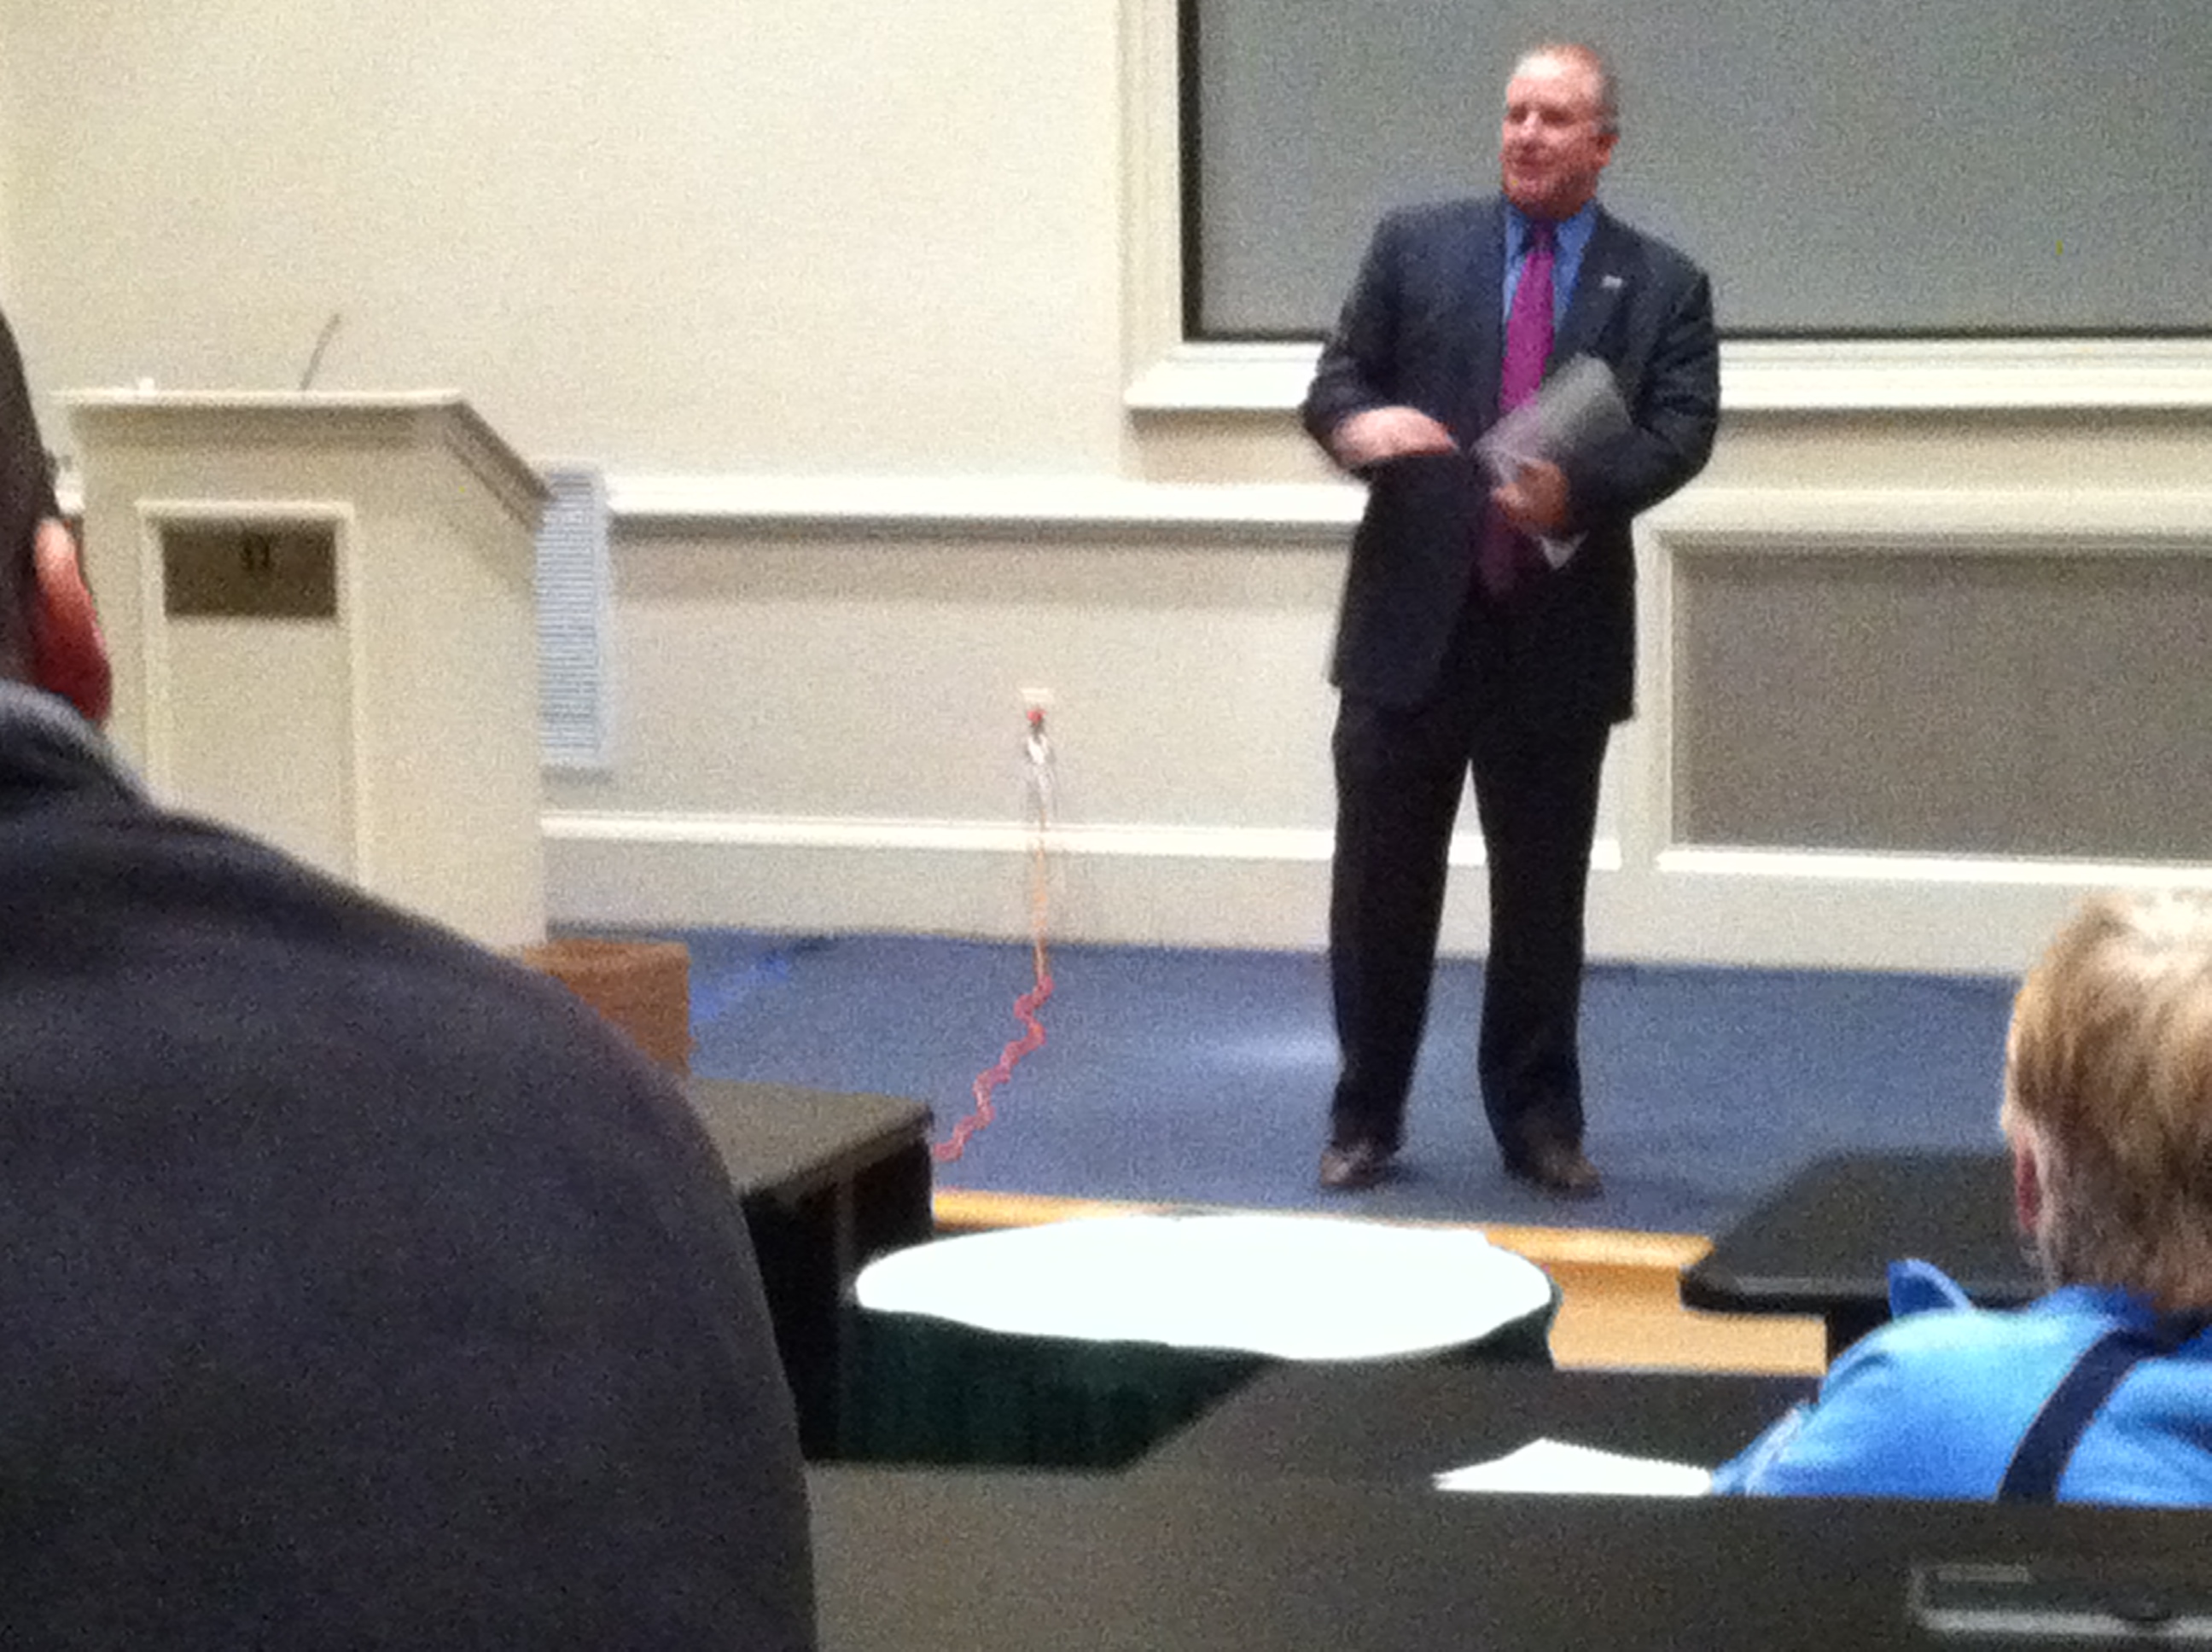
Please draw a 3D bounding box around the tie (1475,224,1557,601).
[{"bbox_3d":[0.564,-0.563,3.165,0.095,0.507,0.041,12,2,6],"label":"tie"}]

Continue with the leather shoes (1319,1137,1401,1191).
[{"bbox_3d":[0.345,0.483,3.292,0.046,0.064,0.139,0,-6,20],"label":"leather shoes"}]

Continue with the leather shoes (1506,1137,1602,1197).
[{"bbox_3d":[0.621,0.478,3.263,0.051,0.067,0.145,-9,20,-29],"label":"leather shoes"}]
